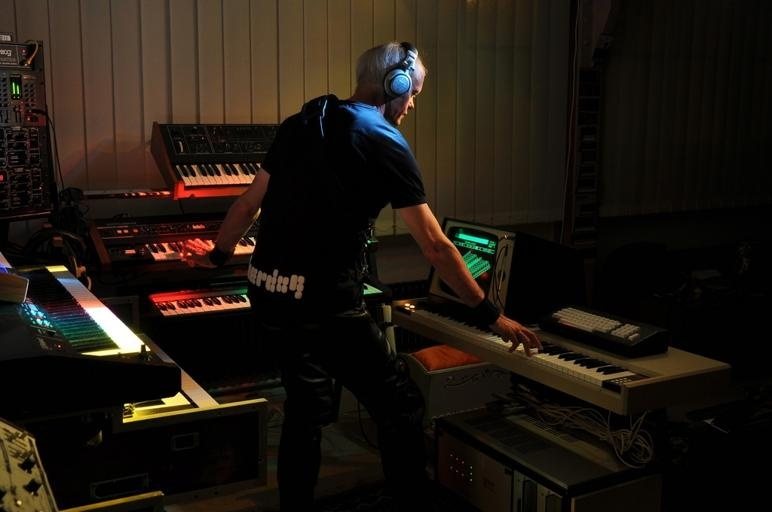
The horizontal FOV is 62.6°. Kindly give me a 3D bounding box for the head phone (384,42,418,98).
[{"bbox_3d":[0.065,-0.734,2.551,0.088,0.216,0.237,20,8,-8],"label":"head phone"}]

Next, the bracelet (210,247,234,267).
[{"bbox_3d":[-0.705,-0.003,2.761,0.101,0.098,0.062,11,22,-31],"label":"bracelet"}]

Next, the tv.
[{"bbox_3d":[0.514,0.058,3.088,0.434,0.481,0.681,9,5,-35],"label":"tv"}]
